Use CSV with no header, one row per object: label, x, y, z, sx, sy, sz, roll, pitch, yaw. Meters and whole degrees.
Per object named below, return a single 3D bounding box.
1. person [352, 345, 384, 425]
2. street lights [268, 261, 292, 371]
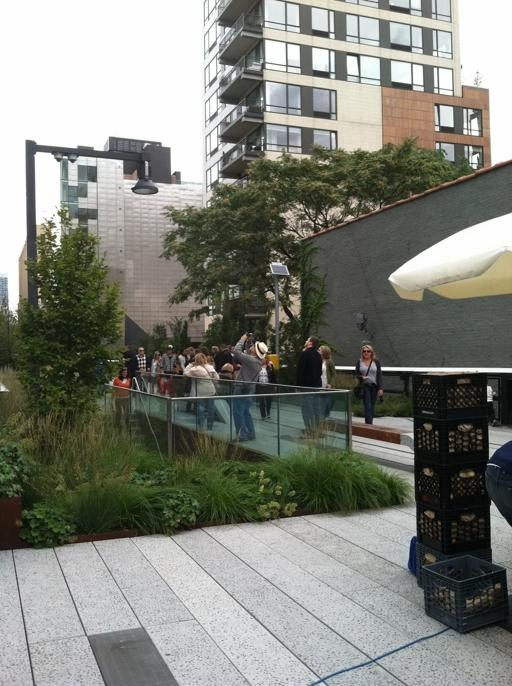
person,2.201,0.779,11.983,0.516,1.508,1.688,3,3,11
street lights,0.641,-0.647,14.575,0.528,2.735,0.374,-18,-24,36
